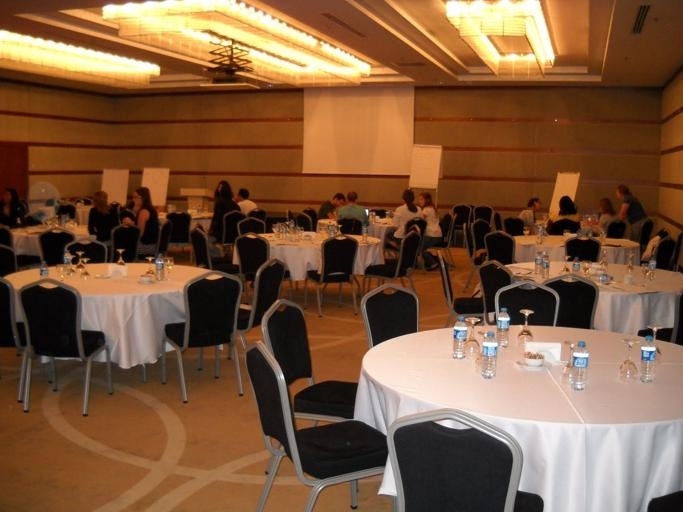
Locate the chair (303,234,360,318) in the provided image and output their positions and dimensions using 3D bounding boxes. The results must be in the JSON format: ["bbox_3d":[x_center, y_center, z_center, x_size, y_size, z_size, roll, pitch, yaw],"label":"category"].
[{"bbox_3d":[-0.124,0.229,7.497,0.621,1.159,0.676,-4,11,-30],"label":"chair"}]

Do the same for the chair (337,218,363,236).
[{"bbox_3d":[0.170,-0.542,9.859,0.291,0.468,0.350,5,13,13],"label":"chair"}]

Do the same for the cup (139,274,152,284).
[{"bbox_3d":[-1.782,0.213,5.084,0.089,0.060,0.089,1,-2,0],"label":"cup"}]

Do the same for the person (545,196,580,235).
[{"bbox_3d":[3.785,-0.676,9.341,0.502,0.847,0.473,10,33,35],"label":"person"}]

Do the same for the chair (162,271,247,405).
[{"bbox_3d":[-1.224,0.635,4.889,0.583,1.169,0.643,-1,8,-28],"label":"chair"}]

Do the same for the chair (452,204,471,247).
[{"bbox_3d":[2.723,-0.699,12.846,0.520,1.025,0.623,6,10,38],"label":"chair"}]

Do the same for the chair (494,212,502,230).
[{"bbox_3d":[3.226,-0.720,11.421,0.165,0.346,0.428,4,11,16],"label":"chair"}]

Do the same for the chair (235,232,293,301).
[{"bbox_3d":[-1.107,0.108,7.601,0.564,1.108,0.666,9,23,19],"label":"chair"}]

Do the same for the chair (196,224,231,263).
[{"bbox_3d":[-2.046,-0.207,8.890,0.456,0.831,0.423,-12,24,-35],"label":"chair"}]

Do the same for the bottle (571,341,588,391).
[{"bbox_3d":[1.257,0.563,2.915,0.078,0.219,0.079,2,-4,0],"label":"bottle"}]

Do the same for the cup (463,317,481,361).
[{"bbox_3d":[0.805,0.497,3.382,0.094,0.256,0.100,-8,23,3],"label":"cup"}]

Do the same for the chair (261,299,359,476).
[{"bbox_3d":[-0.077,0.789,3.434,0.639,1.019,0.555,-7,2,27],"label":"chair"}]

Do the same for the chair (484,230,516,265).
[{"bbox_3d":[2.232,-0.112,7.822,0.357,0.729,0.453,7,23,21],"label":"chair"}]

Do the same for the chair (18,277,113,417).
[{"bbox_3d":[-2.257,0.676,4.408,0.686,1.091,0.369,3,11,5],"label":"chair"}]

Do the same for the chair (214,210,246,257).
[{"bbox_3d":[-2.193,-0.302,10.282,0.597,1.078,0.547,7,7,36],"label":"chair"}]

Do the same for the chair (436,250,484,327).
[{"bbox_3d":[1.388,0.450,6.008,0.623,0.960,0.539,-2,3,7],"label":"chair"}]

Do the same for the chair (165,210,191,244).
[{"bbox_3d":[-3.021,-0.518,10.302,0.436,0.888,0.512,1,33,-10],"label":"chair"}]
